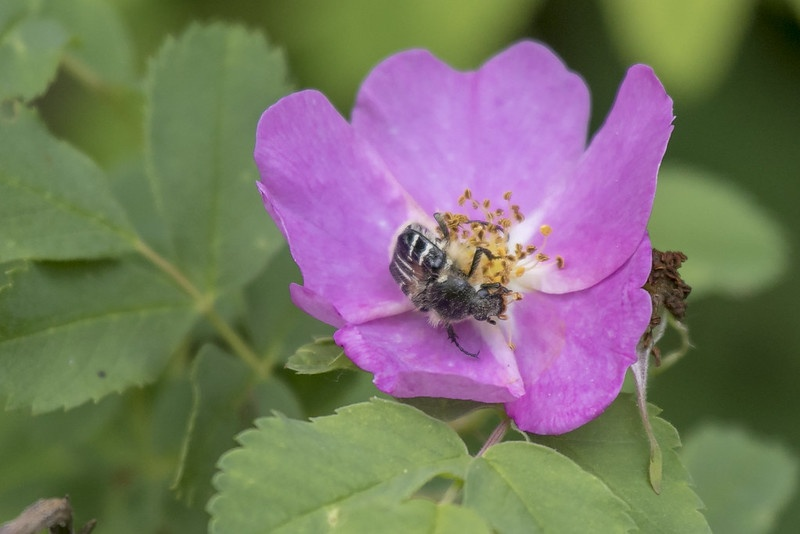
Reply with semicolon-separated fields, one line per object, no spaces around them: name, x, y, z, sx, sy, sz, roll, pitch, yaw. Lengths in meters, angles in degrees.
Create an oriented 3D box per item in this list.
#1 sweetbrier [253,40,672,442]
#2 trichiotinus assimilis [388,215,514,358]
sweetbrier;0.198;-0.135;2.054;0.965;0.465;1.018;18;76;10
trichiotinus assimilis;0.124;0.044;2.044;0.354;0.117;0.266;44;104;12
